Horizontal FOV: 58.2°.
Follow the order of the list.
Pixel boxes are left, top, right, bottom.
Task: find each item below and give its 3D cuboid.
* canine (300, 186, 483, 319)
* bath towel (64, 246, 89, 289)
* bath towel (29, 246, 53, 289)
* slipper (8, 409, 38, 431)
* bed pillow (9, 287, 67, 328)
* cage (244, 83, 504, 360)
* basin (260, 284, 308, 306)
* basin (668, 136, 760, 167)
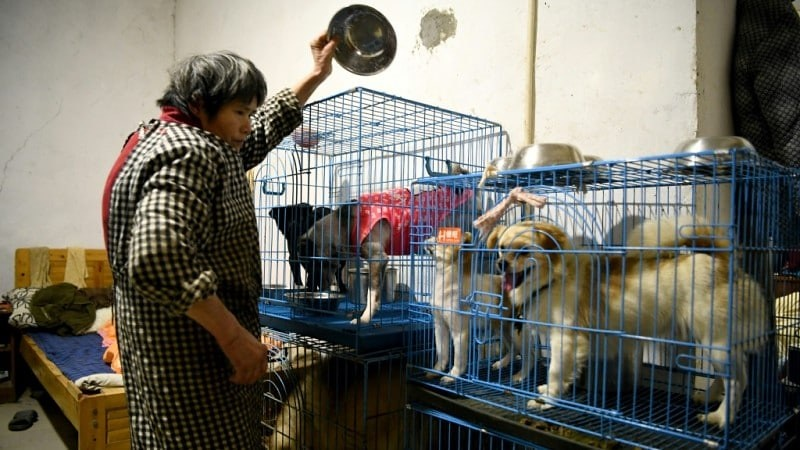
[{"bbox_3d":[0.144,0.073,5.526,1.729,1.005,0.619,-12,4,-18],"label":"canine"},{"bbox_3d":[-3.812,0.510,8.516,0.254,0.457,0.159,1,-5,-25],"label":"bath towel"},{"bbox_3d":[-4.159,0.496,8.360,0.215,0.455,0.060,1,-5,-27],"label":"bath towel"},{"bbox_3d":[-3.647,1.911,7.009,0.246,0.138,0.376,1,-5,-26],"label":"slipper"},{"bbox_3d":[-3.972,1.010,7.902,0.410,0.160,0.581,-7,29,-18],"label":"bed pillow"},{"bbox_3d":[-0.018,-0.179,6.292,2.560,2.244,1.851,-4,7,-39],"label":"cage"},{"bbox_3d":[-1.023,0.595,6.028,0.245,0.122,0.239,2,-1,0],"label":"basin"},{"bbox_3d":[2.092,-0.494,4.783,0.487,0.246,0.454,-1,-5,0],"label":"basin"}]
